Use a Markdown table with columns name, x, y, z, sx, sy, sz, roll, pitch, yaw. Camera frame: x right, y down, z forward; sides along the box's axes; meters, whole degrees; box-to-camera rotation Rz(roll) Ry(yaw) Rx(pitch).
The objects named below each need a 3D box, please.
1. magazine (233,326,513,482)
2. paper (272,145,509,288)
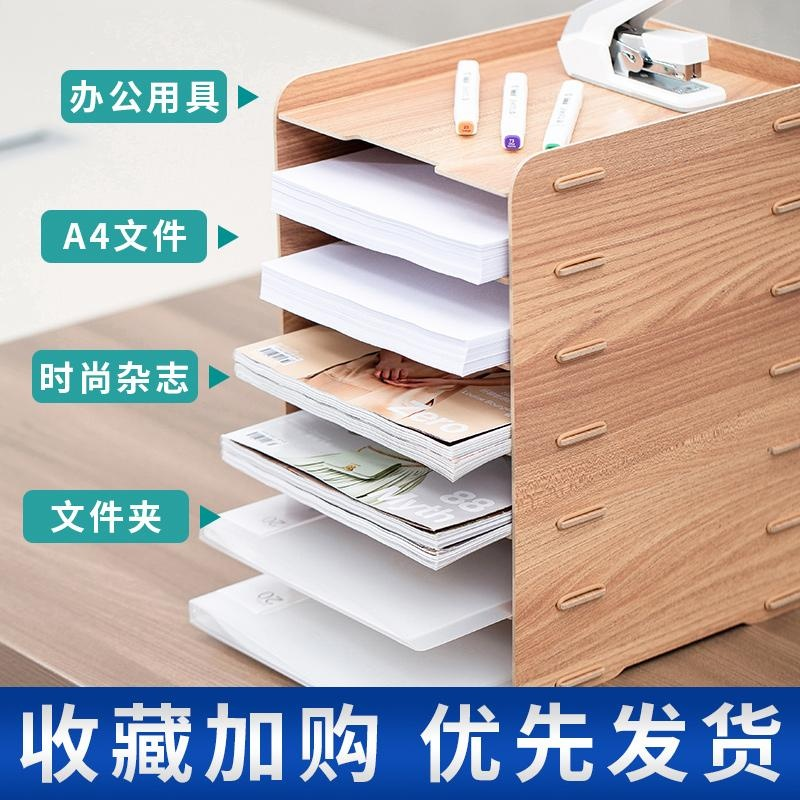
| name | x | y | z | sx | sy | sz | roll | pitch | yaw |
| --- | --- | --- | --- | --- | --- | --- | --- | --- | --- |
| magazine | -0.028 | -0.002 | 1.029 | 0.275 | 0.041 | 0.191 | 19 | 27 | 34 |
| paper | 0.066 | -0.193 | 1.004 | 0.190 | 0.040 | 0.250 | -22 | 37 | -34 |
